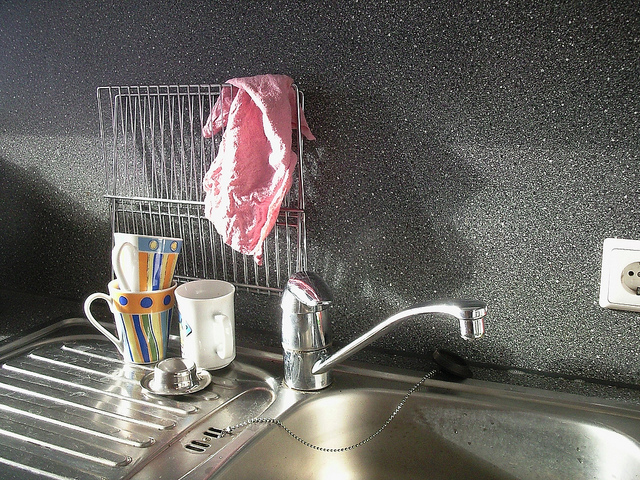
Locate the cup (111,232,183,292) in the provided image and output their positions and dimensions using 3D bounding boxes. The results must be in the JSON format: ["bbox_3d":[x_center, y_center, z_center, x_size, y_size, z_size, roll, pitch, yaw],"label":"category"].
[{"bbox_3d":[-0.357,0.054,1.056,0.139,0.124,0.119,3,-1,-41],"label":"cup"}]

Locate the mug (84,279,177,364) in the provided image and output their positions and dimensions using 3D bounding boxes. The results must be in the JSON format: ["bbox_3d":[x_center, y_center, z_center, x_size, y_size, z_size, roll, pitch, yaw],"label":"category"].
[{"bbox_3d":[-0.383,0.169,1.074,0.188,0.144,0.130,-1,3,-24],"label":"mug"}]

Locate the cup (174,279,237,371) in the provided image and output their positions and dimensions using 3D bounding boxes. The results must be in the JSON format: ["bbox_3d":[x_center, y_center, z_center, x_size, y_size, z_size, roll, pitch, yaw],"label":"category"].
[{"bbox_3d":[-0.213,0.155,1.096,0.117,0.177,0.174,-8,21,-27],"label":"cup"}]

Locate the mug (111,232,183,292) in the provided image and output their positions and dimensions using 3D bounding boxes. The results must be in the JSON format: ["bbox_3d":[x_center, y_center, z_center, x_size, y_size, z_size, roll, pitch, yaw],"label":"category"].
[{"bbox_3d":[-0.342,0.033,1.064,0.105,0.103,0.126,4,8,17],"label":"mug"}]

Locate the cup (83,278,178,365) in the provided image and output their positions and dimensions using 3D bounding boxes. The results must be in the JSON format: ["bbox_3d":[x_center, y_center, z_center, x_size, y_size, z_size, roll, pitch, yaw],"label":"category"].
[{"bbox_3d":[-0.381,0.170,1.072,0.182,0.142,0.127,-1,2,-26],"label":"cup"}]

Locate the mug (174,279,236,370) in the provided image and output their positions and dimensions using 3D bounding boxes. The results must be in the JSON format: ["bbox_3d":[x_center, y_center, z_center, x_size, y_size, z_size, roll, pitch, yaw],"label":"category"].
[{"bbox_3d":[-0.210,0.181,1.020,0.104,0.161,0.157,-8,18,-31],"label":"mug"}]
